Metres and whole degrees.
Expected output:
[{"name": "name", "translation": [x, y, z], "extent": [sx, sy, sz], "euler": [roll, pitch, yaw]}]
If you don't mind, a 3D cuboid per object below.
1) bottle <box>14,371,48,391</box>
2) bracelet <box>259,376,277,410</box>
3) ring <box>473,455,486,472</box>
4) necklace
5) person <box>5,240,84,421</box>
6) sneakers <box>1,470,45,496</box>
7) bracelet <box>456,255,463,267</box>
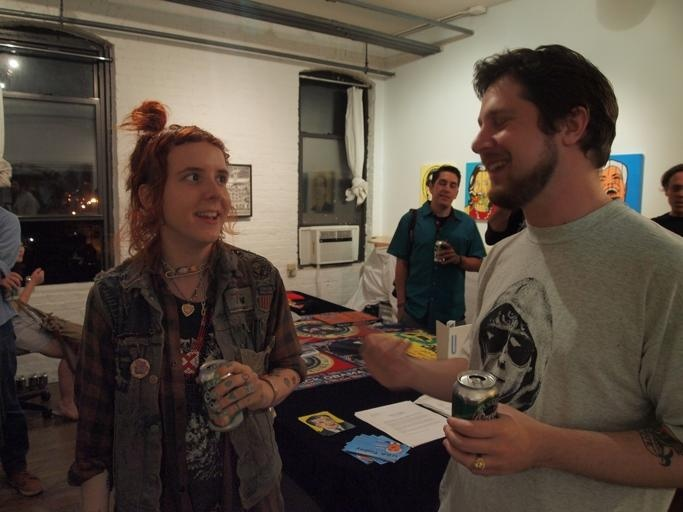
[{"name": "bottle", "translation": [-3.047, 1.228, 4.984], "extent": [0.222, 0.069, 0.219], "euler": [2, 0, 0]}, {"name": "bracelet", "translation": [-0.268, 0.482, 1.817], "extent": [0.085, 0.097, 0.036], "euler": [-11, -17, 18]}, {"name": "ring", "translation": [0.360, 0.536, 1.321], "extent": [0.032, 0.040, 0.015], "euler": [-17, -11, 27]}, {"name": "necklace", "translation": [-0.575, 0.100, 1.885], "extent": [0.152, 0.253, 0.063], "euler": [-1, -1, -7]}, {"name": "person", "translation": [-2.457, 0.425, 3.983], "extent": [0.335, 0.920, 0.478], "euler": [27, 22, 36]}, {"name": "sneakers", "translation": [-2.134, 1.488, 3.407], "extent": [0.316, 0.129, 0.113], "euler": [5, 5, 27]}, {"name": "bracelet", "translation": [0.919, 0.030, 3.926], "extent": [0.068, 0.089, 0.037], "euler": [-11, -15, 1]}]
